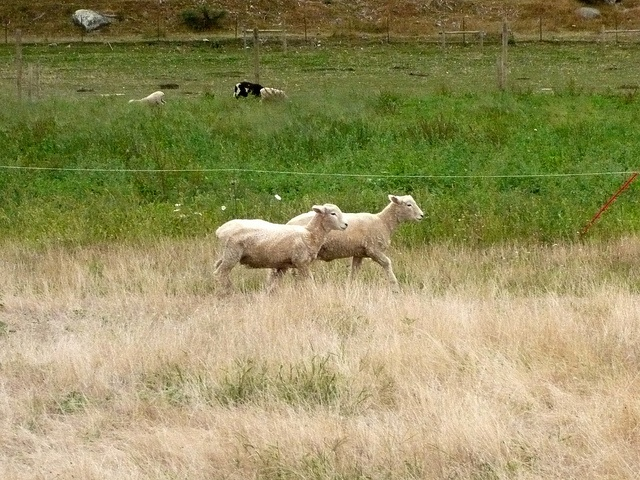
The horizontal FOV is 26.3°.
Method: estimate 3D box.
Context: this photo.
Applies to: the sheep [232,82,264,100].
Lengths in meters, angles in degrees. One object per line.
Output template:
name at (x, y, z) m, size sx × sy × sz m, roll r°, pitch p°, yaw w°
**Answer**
sheep at (-2.743, -5.665, 52.123) m, size 1.474 × 0.515 × 0.630 m, roll 11°, pitch 22°, yaw 35°
